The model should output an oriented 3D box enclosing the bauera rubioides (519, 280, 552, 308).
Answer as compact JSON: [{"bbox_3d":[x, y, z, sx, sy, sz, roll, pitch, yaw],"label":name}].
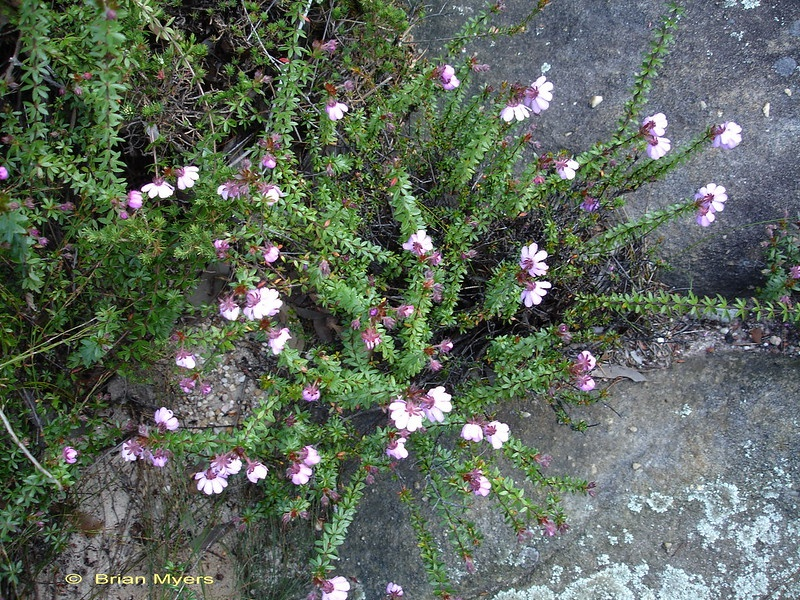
[{"bbox_3d":[0.686,-0.039,3.199,0.119,0.212,0.107,-5,84,-4],"label":"bauera rubioides"}]
